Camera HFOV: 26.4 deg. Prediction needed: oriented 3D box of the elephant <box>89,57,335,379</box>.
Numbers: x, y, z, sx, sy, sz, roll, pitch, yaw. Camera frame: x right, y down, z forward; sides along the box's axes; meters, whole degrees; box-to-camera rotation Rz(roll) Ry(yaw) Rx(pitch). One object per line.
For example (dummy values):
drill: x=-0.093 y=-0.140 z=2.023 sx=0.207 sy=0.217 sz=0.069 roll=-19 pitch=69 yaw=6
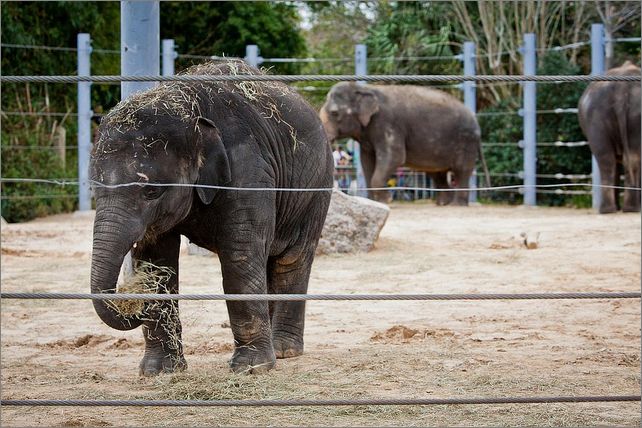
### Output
elephant: x=-1.099 y=0.077 z=13.105 sx=1.606 sy=2.766 sz=3.494 roll=-1 pitch=1 yaw=27

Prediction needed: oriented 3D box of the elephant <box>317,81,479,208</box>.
elephant: x=0.855 y=-0.908 z=17.071 sx=2.487 sy=1.348 sz=0.861 roll=4 pitch=1 yaw=-13
